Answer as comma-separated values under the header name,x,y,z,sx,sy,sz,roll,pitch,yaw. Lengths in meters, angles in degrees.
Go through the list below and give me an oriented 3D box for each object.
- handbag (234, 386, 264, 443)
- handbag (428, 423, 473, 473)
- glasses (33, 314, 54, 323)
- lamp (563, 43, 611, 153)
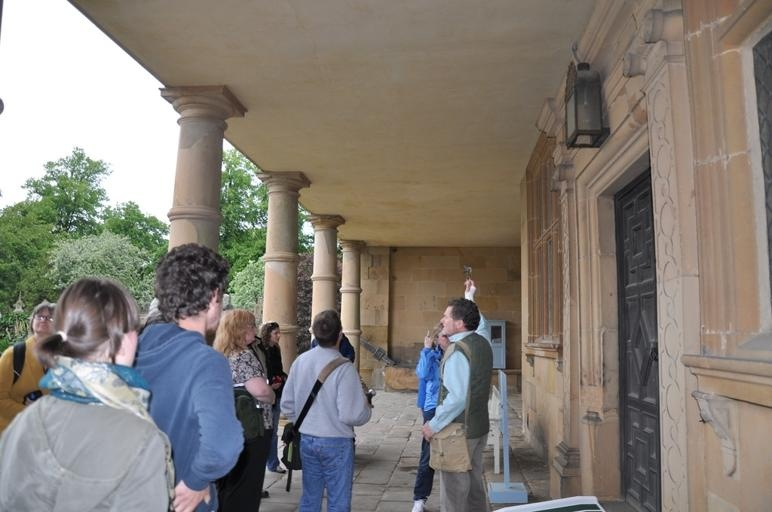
name,x,y,z,sx,sy,sz,roll,pitch,yaw
handbag,-1.105,1.224,4.595,0.218,0.435,0.296,-2,10,-15
handbag,0.466,1.461,4.392,0.378,0.365,0.215,-15,-14,40
glasses,-2.659,0.471,4.407,0.109,0.032,0.113,0,-24,-11
lamp,1.728,-1.389,4.932,0.319,0.899,0.304,0,-9,9
